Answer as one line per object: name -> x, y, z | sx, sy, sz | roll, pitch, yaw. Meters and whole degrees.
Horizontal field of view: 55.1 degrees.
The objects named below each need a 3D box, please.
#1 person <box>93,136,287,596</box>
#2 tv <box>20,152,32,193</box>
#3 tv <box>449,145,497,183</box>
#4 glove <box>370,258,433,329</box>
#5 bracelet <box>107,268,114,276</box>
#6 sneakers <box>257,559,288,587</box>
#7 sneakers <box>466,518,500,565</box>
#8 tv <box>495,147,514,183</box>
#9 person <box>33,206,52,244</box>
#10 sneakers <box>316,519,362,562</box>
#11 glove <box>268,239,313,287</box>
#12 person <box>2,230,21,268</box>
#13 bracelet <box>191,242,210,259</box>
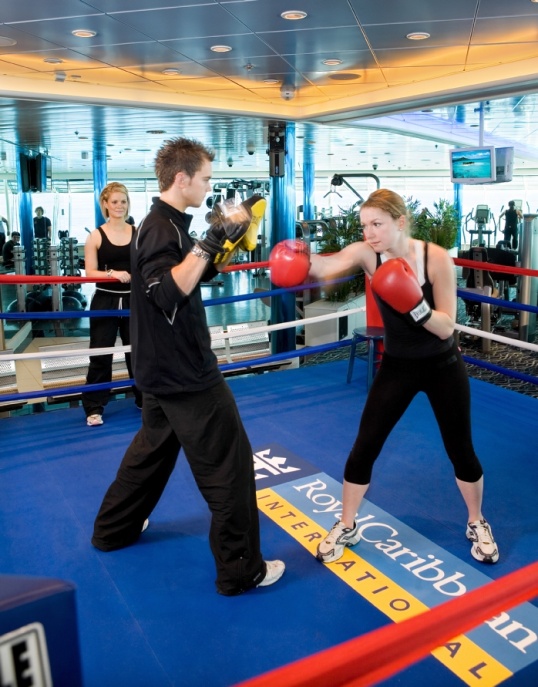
person -> -0.301, 0.095, 1.736 | 0.665, 1.497, 0.389 | 7, 14, 37
tv -> -4.280, -3.069, 9.172 | 0.186, 0.725, 0.866 | -6, 12, -23
tv -> 2.578, -2.273, 6.592 | 0.620, 0.436, 0.310 | 8, 15, 40
glove -> 0.398, -0.150, 1.562 | 0.174, 0.193, 0.089 | 1, 12, 12
bracelet -> -0.962, -0.433, 3.163 | 0.049, 0.043, 0.039 | 0, 7, 43
sneakers -> 0.022, 0.797, 1.821 | 0.050, 0.052, 0.134 | 11, 16, 30
sneakers -> 0.787, 0.738, 1.911 | 0.083, 0.066, 0.170 | -1, 11, 5
tv -> 3.039, -2.338, 6.714 | 0.166, 0.470, 0.452 | 6, 13, 33
person -> -4.241, -2.265, 9.754 | 0.289, 0.579, 0.877 | -6, 12, -22
sneakers -> 0.270, 0.734, 1.992 | 0.223, 0.101, 0.093 | -24, 21, -37
glove -> 0.058, -0.275, 1.749 | 0.168, 0.181, 0.155 | 1, 13, -4
person -> -4.005, -1.454, 8.088 | 0.272, 0.572, 1.005 | -7, 12, -24
bracelet -> -0.177, -0.252, 1.413 | 0.044, 0.044, 0.013 | -35, 8, 43
